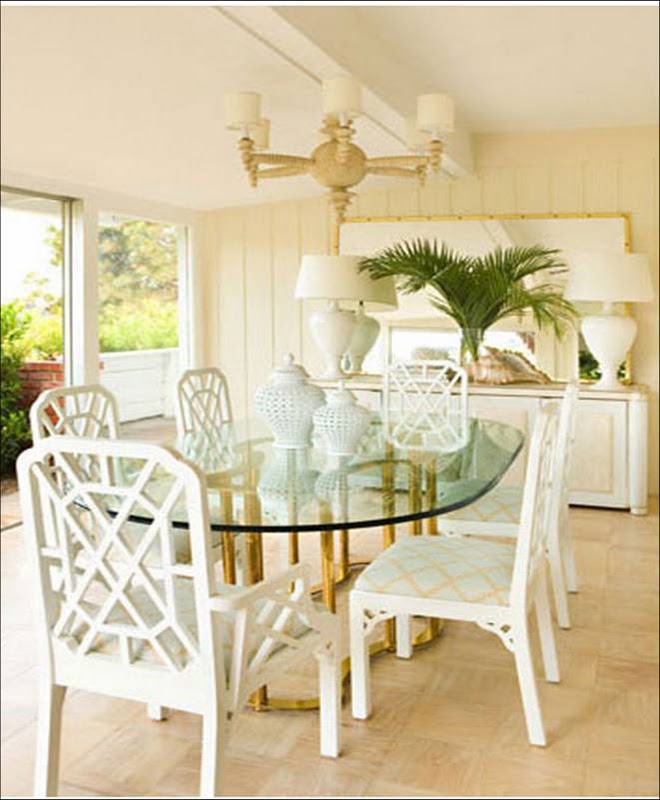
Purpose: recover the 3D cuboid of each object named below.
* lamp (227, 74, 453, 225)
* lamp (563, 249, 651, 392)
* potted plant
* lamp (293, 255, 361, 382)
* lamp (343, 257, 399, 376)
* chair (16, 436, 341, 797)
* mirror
[{"bbox_3d":[0.030,-0.839,2.605,0.762,0.469,0.844,0,12,1],"label":"lamp"},{"bbox_3d":[1.670,-0.497,4.297,0.462,0.845,0.750,2,6,21],"label":"lamp"},{"bbox_3d":[0.961,-0.581,4.666,1.083,0.596,1.046,-1,-1,20],"label":"potted plant"},{"bbox_3d":[0.024,-0.456,4.064,0.481,0.643,0.461,-2,-1,-26],"label":"lamp"},{"bbox_3d":[0.215,-0.579,5.098,0.567,0.822,0.531,3,-5,-2],"label":"lamp"},{"bbox_3d":[-0.296,0.465,1.479,0.630,0.811,0.426,0,5,1],"label":"chair"},{"bbox_3d":[0.906,-0.614,4.806,1.383,0.688,1.274,0,15,-8],"label":"mirror"}]
